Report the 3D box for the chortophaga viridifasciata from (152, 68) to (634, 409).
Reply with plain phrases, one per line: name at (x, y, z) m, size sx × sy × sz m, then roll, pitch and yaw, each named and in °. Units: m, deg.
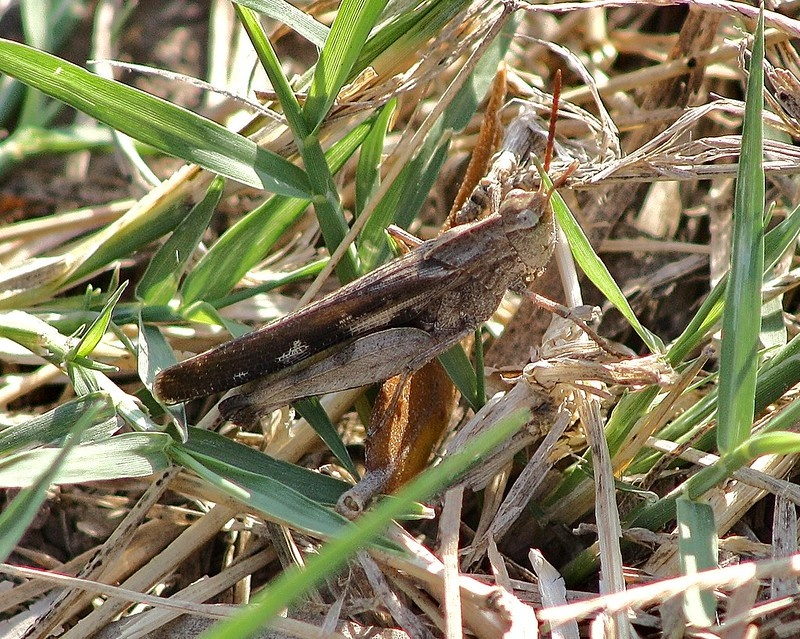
chortophaga viridifasciata at (-0.059, 0.010, 1.590) m, size 0.717 × 0.215 × 0.175 m, roll -24°, pitch 73°, yaw -11°
